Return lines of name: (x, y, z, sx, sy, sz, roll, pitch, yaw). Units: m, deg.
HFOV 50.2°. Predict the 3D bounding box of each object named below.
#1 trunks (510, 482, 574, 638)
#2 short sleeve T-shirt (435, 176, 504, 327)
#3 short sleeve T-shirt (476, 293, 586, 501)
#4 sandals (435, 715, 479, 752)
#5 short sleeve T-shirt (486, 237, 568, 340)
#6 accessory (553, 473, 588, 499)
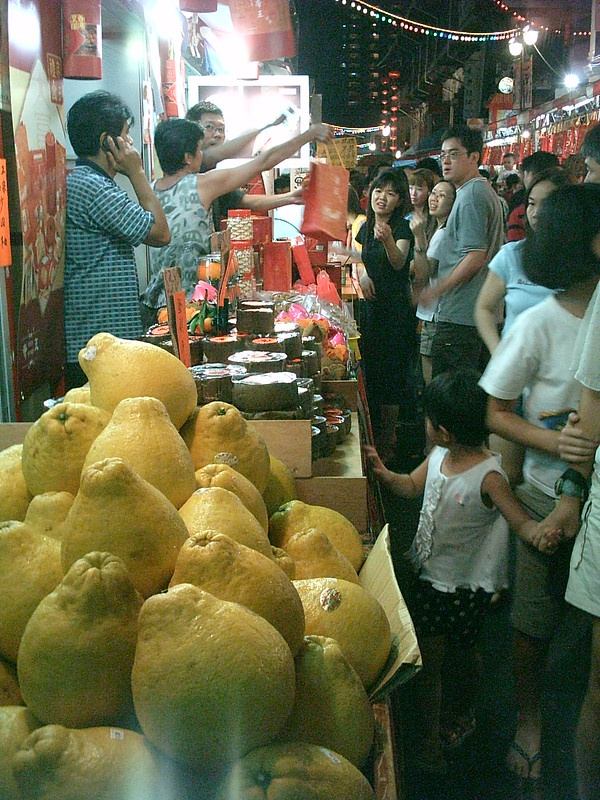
trunks: (0.681, 0.435, 1.790, 0.192, 0.359, 0.127, 8, 10, 34)
short sleeve T-shirt: (0.825, -0.696, 3.084, 0.298, 0.768, 0.599, 7, 33, 17)
short sleeve T-shirt: (0.579, -0.099, 1.607, 0.243, 0.328, 0.103, 14, 22, 43)
sandals: (0.475, 1.002, 1.923, 0.120, 0.076, 0.031, -35, -8, -19)
short sleeve T-shirt: (0.779, -0.406, 2.120, 0.257, 0.269, 0.149, 23, 66, 28)
accessory: (0.643, 0.201, 1.501, 0.049, 0.043, 0.070, 5, -4, 10)
